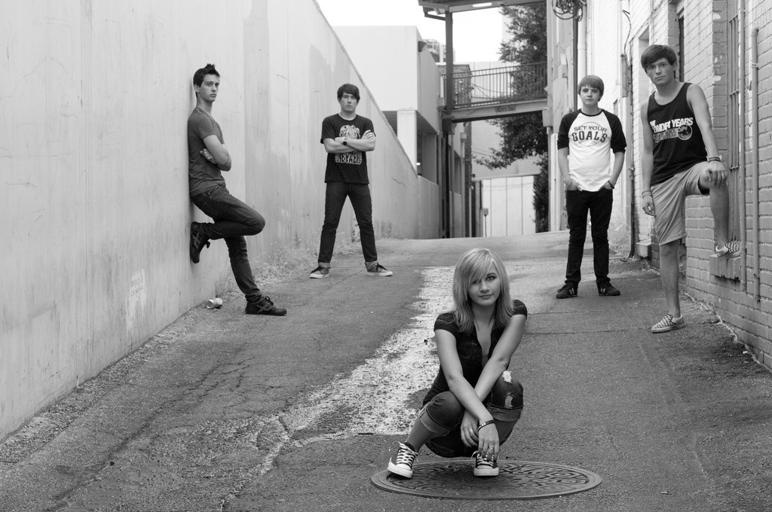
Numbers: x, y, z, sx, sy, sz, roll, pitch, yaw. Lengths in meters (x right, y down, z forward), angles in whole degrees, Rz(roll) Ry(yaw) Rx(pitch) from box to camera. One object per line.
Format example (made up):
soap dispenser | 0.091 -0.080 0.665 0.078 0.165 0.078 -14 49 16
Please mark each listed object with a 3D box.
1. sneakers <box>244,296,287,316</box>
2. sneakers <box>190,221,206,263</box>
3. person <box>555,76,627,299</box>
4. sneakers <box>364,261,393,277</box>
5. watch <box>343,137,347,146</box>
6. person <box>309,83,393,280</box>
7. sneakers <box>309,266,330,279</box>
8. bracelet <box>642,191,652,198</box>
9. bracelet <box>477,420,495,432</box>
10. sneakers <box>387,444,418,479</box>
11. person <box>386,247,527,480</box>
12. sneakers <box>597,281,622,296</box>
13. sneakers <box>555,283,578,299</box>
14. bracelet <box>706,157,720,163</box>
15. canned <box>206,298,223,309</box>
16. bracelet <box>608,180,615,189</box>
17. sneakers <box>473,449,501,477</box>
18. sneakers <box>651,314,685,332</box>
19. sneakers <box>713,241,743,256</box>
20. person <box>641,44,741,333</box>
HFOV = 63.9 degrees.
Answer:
sneakers | -1.369 0.554 6.883 0.500 0.246 0.188 1 -2 -3
sneakers | -2.076 -0.183 6.890 0.270 0.483 0.150 4 8 8
person | 2.409 -0.652 7.312 0.742 2.266 0.558 2 10 18
sneakers | -0.123 0.191 9.327 0.384 0.188 0.197 0 2 12
watch | -0.595 -1.660 8.967 0.065 0.080 0.081 3 16 6
person | -0.583 -1.095 9.145 1.042 2.812 0.606 -3 10 -8
sneakers | -1.000 0.245 9.117 0.121 0.154 0.345 -3 -7 22
bracelet | 2.528 -0.599 5.992 0.059 0.046 0.063 -3 -13 13
bracelet | 0.582 0.972 3.538 0.065 0.025 0.058 -27 -8 32
sneakers | 0.090 1.221 3.704 0.175 0.236 0.230 -2 10 -1
person | 0.454 0.640 3.693 0.764 1.311 0.497 0 10 8
sneakers | 2.641 0.390 7.404 0.118 0.165 0.361 -5 -1 -22
sneakers | 2.169 0.423 7.416 0.122 0.154 0.337 -9 -13 39
bracelet | 2.867 -0.837 5.399 0.080 0.035 0.093 -2 -2 -9
canned | -1.999 0.532 7.148 0.158 0.145 0.125 -5 7 -9
bracelet | 2.631 -0.826 7.217 0.079 0.075 0.069 -5 3 -4
sneakers | 0.595 1.211 3.679 0.160 0.201 0.195 0 10 10
sneakers | 2.665 0.645 5.898 0.357 0.165 0.136 -6 2 -13
sneakers | 3.169 -0.061 5.773 0.270 0.182 0.118 -5 5 -9
person | 2.789 -0.613 5.749 0.868 2.639 0.569 4 11 31
